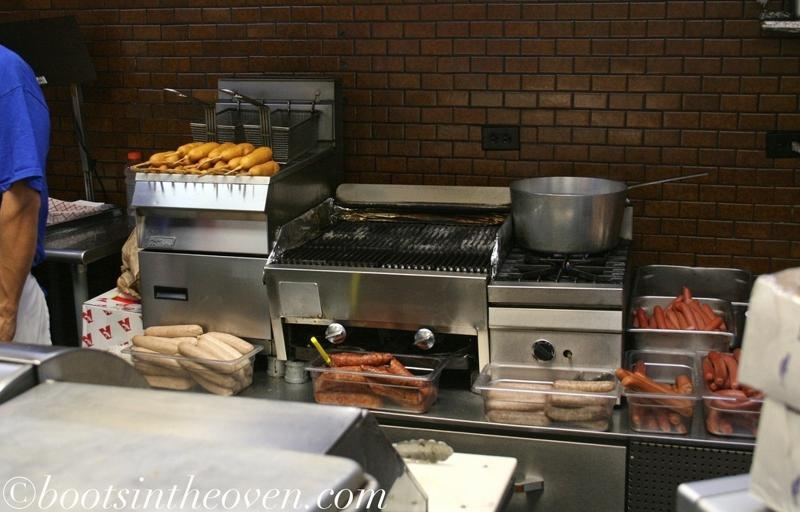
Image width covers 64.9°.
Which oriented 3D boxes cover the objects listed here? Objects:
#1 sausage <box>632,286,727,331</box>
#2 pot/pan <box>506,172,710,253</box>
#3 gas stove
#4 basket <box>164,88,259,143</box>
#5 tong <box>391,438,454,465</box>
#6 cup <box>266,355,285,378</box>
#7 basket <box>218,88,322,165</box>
[{"bbox_3d":[1.132,0.185,2.537,0.207,0.077,0.255,-1,8,4],"label":"sausage"},{"bbox_3d":[0.831,-0.191,2.601,0.752,0.225,0.369,0,8,6],"label":"pot/pan"},{"bbox_3d":[0.649,0.093,2.522,0.511,0.197,0.607,1,15,14],"label":"gas stove"},{"bbox_3d":[-0.924,-0.688,3.056,0.327,0.217,0.843,2,11,-23],"label":"basket"},{"bbox_3d":[0.074,0.568,1.847,0.159,0.075,0.064,9,12,11],"label":"tong"},{"bbox_3d":[-0.522,0.466,2.695,0.097,0.085,0.089,0,7,0],"label":"cup"},{"bbox_3d":[-0.574,-0.629,3.018,0.499,0.280,0.473,8,21,24],"label":"basket"}]
